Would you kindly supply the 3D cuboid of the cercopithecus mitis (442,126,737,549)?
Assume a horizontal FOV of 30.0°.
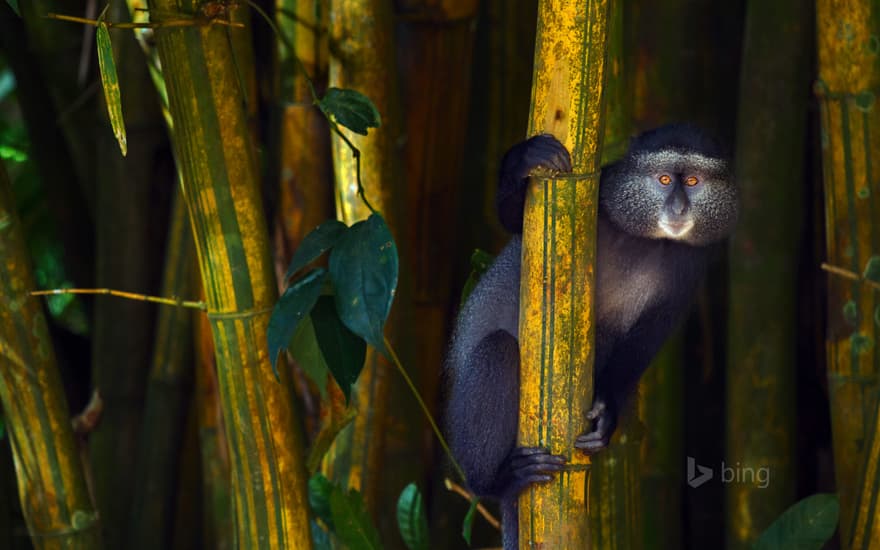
[{"bbox_3d":[0.398,0.187,4.221,0.678,1.127,0.719,11,-25,-15],"label":"cercopithecus mitis"}]
